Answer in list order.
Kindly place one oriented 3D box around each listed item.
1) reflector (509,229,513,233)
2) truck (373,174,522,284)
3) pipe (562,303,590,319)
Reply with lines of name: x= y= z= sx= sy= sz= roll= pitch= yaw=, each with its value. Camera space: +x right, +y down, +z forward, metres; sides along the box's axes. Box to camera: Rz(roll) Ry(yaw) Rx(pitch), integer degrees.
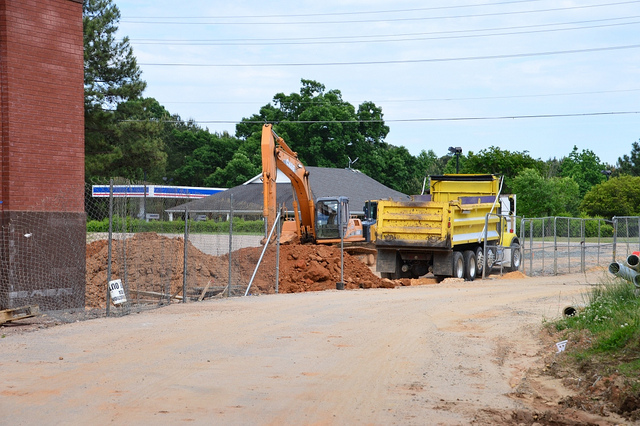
reflector: x=8.018 y=0.744 z=27.133 sx=0.101 sy=0.185 sz=0.190 roll=2 pitch=-4 yaw=22
truck: x=4.831 y=0.445 z=24.384 sx=3.467 sy=3.195 sz=5.744 roll=1 pitch=2 yaw=36
pipe: x=5.494 y=2.104 z=13.868 sx=0.605 sy=0.205 sz=0.294 roll=-10 pitch=-6 yaw=-20
